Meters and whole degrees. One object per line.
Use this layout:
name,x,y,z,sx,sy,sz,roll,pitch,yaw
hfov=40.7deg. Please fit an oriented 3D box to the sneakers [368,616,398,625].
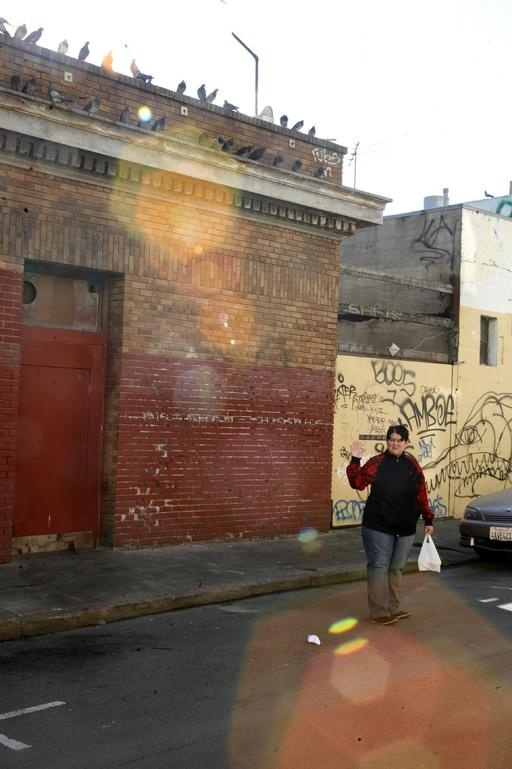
sneakers,1.124,2.054,6.103,0.170,0.069,0.092,-5,-6,19

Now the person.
person,1.185,1.239,6.219,0.757,1.738,0.548,2,-6,12
